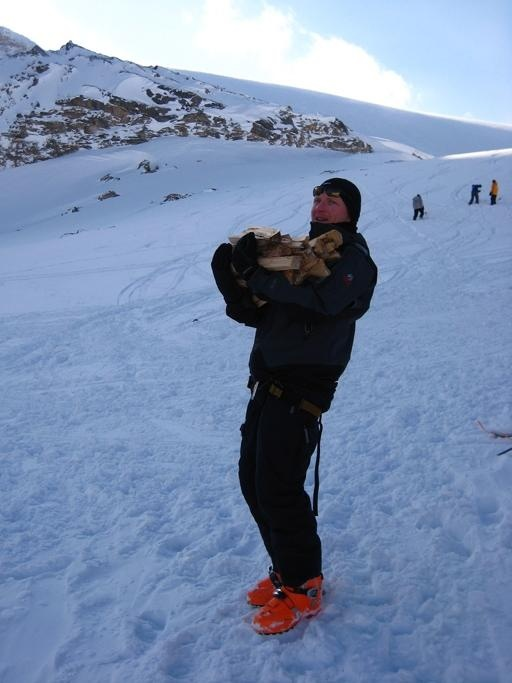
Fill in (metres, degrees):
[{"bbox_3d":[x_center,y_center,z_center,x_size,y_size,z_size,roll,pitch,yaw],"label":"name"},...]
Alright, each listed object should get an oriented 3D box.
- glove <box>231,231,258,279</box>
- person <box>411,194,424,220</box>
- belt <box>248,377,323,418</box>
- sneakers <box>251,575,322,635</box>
[{"bbox_3d":[-0.050,-0.400,2.692,0.133,0.193,0.134,7,25,22],"label":"glove"},{"bbox_3d":[4.925,-4.056,17.358,0.333,0.734,1.161,3,23,15],"label":"person"},{"bbox_3d":[0.159,0.274,2.824,0.303,0.087,0.214,25,3,10],"label":"belt"},{"bbox_3d":[0.182,1.325,2.948,0.443,0.255,0.161,-4,-7,-25],"label":"sneakers"}]
